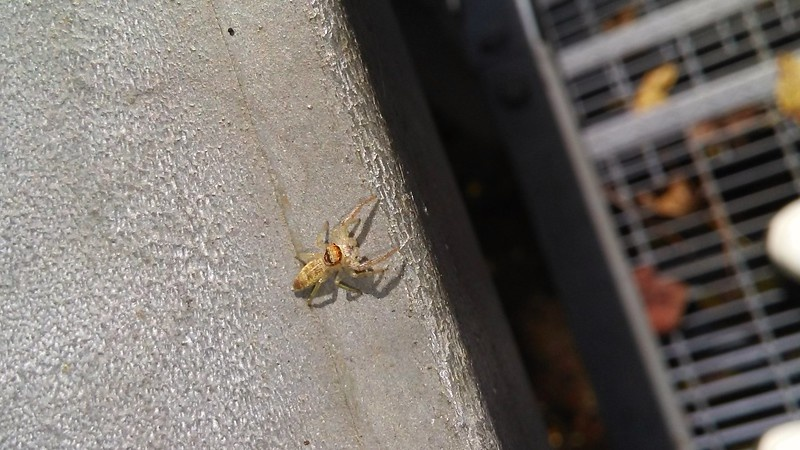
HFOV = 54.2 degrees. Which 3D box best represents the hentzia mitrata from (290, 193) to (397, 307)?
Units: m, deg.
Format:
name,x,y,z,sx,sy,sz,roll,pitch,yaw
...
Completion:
name,x,y,z,sx,sy,sz,roll,pitch,yaw
hentzia mitrata,-0.224,0.111,3.036,0.296,0.398,0.314,47,41,16
